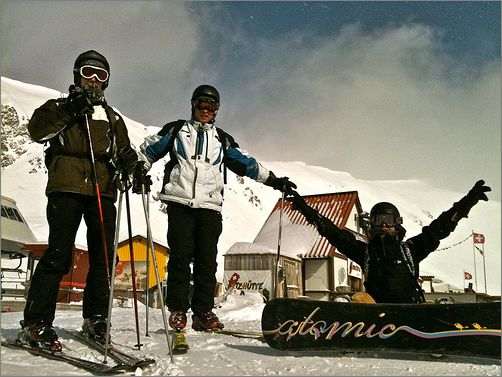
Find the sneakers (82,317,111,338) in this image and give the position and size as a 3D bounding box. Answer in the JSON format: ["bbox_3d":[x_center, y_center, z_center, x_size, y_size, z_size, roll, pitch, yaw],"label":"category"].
[{"bbox_3d":[-1.701,1.543,5.741,0.143,0.184,0.393,21,-9,-34],"label":"sneakers"}]

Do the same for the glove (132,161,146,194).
[{"bbox_3d":[-1.255,-0.123,5.924,0.166,0.329,0.084,3,-13,6],"label":"glove"}]

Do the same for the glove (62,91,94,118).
[{"bbox_3d":[-1.871,-0.939,5.667,0.312,0.345,0.289,7,-12,-22],"label":"glove"}]

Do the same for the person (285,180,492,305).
[{"bbox_3d":[1.696,0.635,6.294,2.221,1.475,0.512,2,-11,2],"label":"person"}]

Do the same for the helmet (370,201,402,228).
[{"bbox_3d":[1.605,0.285,6.195,0.290,0.255,0.306,1,6,9],"label":"helmet"}]

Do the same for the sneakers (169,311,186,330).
[{"bbox_3d":[-0.842,1.534,6.034,0.186,0.203,0.286,5,-12,-10],"label":"sneakers"}]

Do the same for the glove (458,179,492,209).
[{"bbox_3d":[2.704,0.101,6.289,0.261,0.423,0.131,34,-8,15],"label":"glove"}]

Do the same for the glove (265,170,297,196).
[{"bbox_3d":[0.407,-0.057,7.065,0.418,0.167,0.258,47,-28,4],"label":"glove"}]
